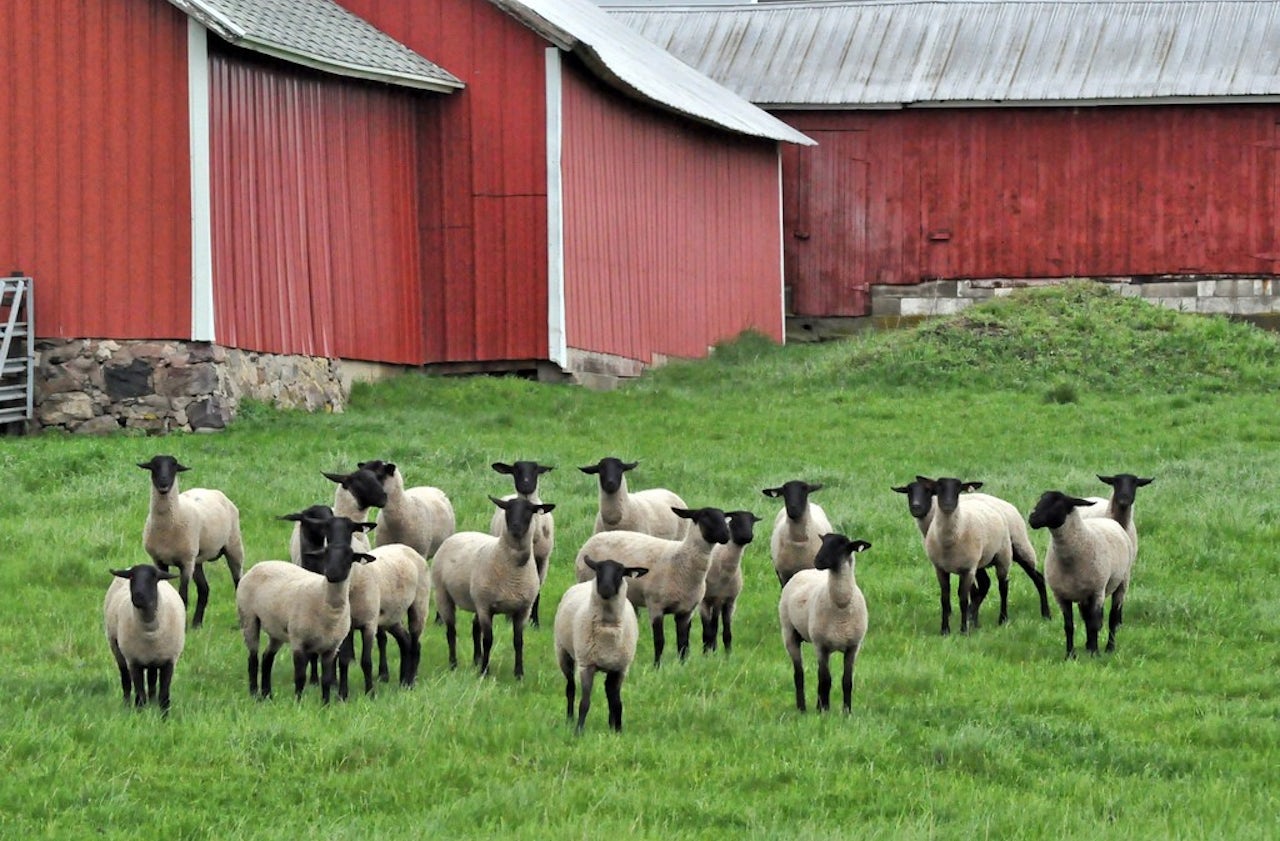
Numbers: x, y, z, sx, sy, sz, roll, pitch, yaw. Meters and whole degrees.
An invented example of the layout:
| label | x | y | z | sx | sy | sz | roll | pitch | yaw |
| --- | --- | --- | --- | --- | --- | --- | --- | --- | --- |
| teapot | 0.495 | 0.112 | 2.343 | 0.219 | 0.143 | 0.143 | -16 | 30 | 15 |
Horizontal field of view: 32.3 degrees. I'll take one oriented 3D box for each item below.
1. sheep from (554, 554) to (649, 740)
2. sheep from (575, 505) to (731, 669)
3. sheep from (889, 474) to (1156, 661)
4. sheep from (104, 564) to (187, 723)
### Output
| label | x | y | z | sx | sy | sz | roll | pitch | yaw |
| --- | --- | --- | --- | --- | --- | --- | --- | --- | --- |
| sheep | -0.627 | 3.352 | 32.557 | 1.300 | 2.375 | 0.819 | -1 | 0 | 31 |
| sheep | 0.285 | 2.703 | 34.694 | 1.054 | 2.598 | 3.481 | 1 | -3 | -37 |
| sheep | 6.400 | 2.108 | 36.451 | 3.642 | 2.029 | 2.630 | -1 | 0 | 10 |
| sheep | -7.275 | 3.243 | 32.673 | 0.987 | 2.198 | 1.288 | -1 | 0 | -35 |
